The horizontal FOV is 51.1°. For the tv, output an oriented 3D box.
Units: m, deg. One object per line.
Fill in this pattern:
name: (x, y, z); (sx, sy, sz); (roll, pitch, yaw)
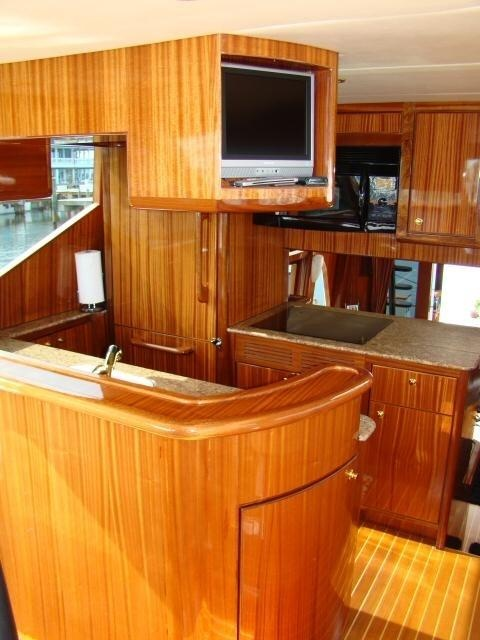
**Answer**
tv: (0.081, -0.678, 1.669); (0.028, 0.265, 0.386); (17, 25, 40)

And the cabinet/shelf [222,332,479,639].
cabinet/shelf: (0.732, 0.498, 3.265); (1.912, 1.777, 1.064); (11, 19, 34)

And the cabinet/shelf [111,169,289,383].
cabinet/shelf: (-0.435, -0.261, 3.105); (0.900, 1.227, 0.332); (12, 13, 21)

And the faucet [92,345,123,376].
faucet: (-0.602, 0.180, 2.266); (0.062, 0.117, 0.224); (16, 29, 9)
